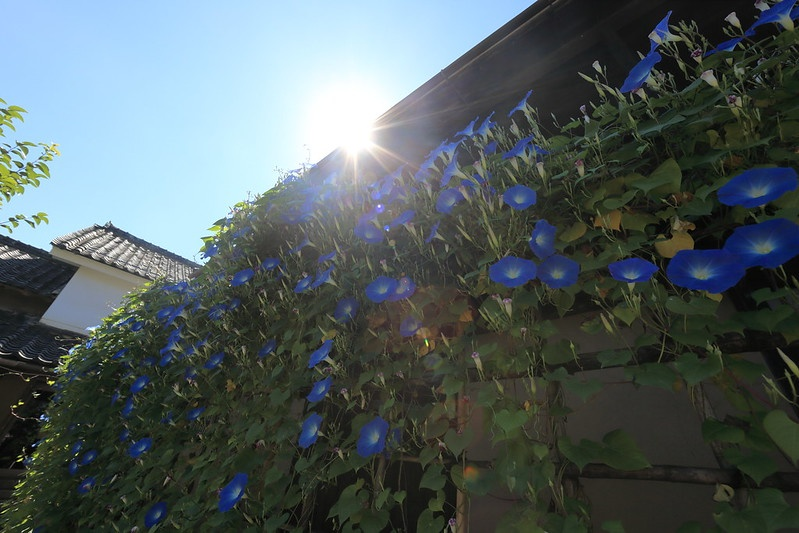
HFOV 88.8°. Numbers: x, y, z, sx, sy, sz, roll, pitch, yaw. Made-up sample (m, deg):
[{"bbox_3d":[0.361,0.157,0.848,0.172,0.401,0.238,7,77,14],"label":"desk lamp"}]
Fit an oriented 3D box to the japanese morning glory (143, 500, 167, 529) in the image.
[{"bbox_3d":[-1.572,1.690,2.661,0.164,0.158,0.056,-11,-49,9],"label":"japanese morning glory"}]
